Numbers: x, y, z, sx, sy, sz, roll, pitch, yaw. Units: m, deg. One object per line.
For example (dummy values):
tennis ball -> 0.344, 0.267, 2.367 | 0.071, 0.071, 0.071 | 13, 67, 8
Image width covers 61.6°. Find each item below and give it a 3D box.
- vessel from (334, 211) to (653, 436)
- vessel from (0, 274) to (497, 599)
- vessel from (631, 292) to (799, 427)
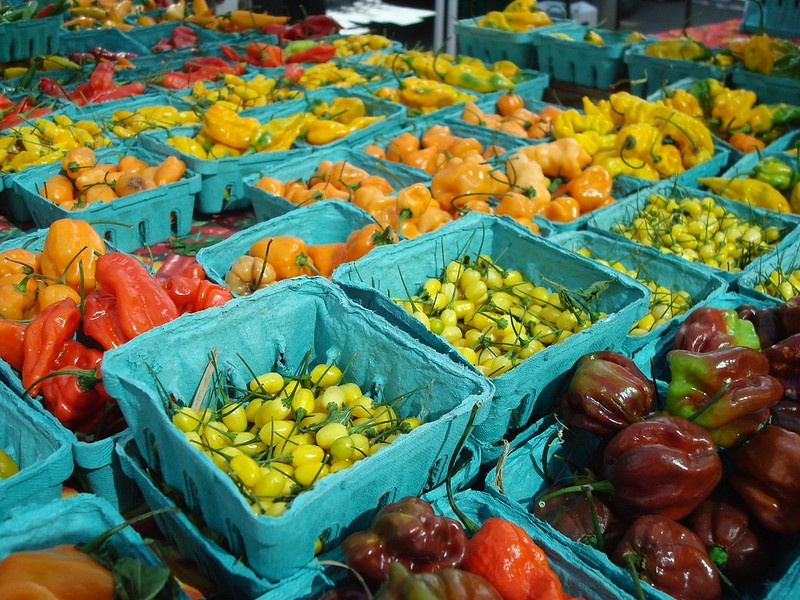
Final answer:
vessel -> 0.538, -0.074, 3.715 | 1.211, 0.602, 1.361 | -31, 50, -31
vessel -> -0.464, 0.440, 2.851 | 1.324, 0.539, 1.295 | 39, 46, 26
vessel -> 1.693, 0.283, 3.659 | 0.770, 0.303, 0.564 | -34, 42, -13
